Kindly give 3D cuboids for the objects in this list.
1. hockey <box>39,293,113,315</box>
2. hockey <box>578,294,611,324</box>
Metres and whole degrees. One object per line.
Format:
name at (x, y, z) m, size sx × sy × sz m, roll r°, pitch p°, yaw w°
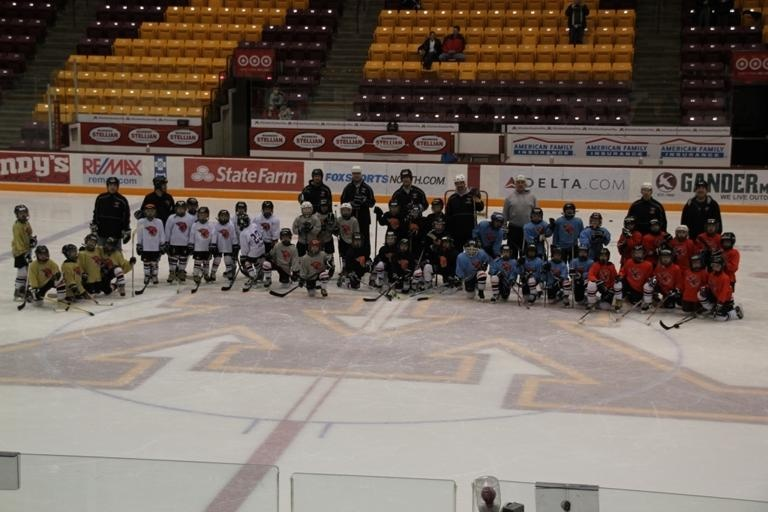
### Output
hockey at (-6.093, 1.000, 18.966) m, size 0.961 × 0.174 × 0.546 m, roll 8°, pitch 17°, yaw -7°
hockey at (4.226, 1.113, 19.140) m, size 0.327 × 0.746 × 0.480 m, roll 22°, pitch -18°, yaw -24°
